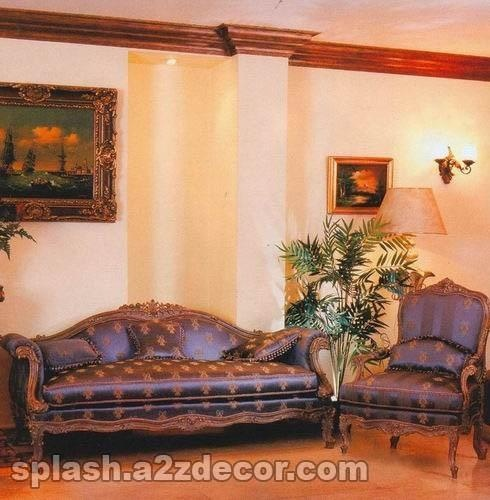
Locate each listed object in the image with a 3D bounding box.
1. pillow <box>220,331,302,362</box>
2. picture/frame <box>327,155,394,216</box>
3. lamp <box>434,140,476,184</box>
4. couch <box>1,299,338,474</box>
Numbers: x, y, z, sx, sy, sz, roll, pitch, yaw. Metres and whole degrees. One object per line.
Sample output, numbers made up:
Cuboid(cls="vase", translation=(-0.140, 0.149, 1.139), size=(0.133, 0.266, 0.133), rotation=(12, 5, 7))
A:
Cuboid(cls="pillow", translation=(0.116, 0.700, 4.037), size=(0.341, 0.089, 0.329), rotation=(-18, 1, -34))
Cuboid(cls="picture/frame", translation=(0.998, -0.556, 4.997), size=(0.707, 0.502, 0.047), rotation=(2, -4, -19))
Cuboid(cls="lamp", translation=(1.997, -0.843, 5.378), size=(0.495, 0.359, 0.250), rotation=(-1, -5, -33))
Cuboid(cls="couch", translation=(-0.536, 0.901, 3.769), size=(2.093, 0.848, 0.793), rotation=(2, -6, -19))
